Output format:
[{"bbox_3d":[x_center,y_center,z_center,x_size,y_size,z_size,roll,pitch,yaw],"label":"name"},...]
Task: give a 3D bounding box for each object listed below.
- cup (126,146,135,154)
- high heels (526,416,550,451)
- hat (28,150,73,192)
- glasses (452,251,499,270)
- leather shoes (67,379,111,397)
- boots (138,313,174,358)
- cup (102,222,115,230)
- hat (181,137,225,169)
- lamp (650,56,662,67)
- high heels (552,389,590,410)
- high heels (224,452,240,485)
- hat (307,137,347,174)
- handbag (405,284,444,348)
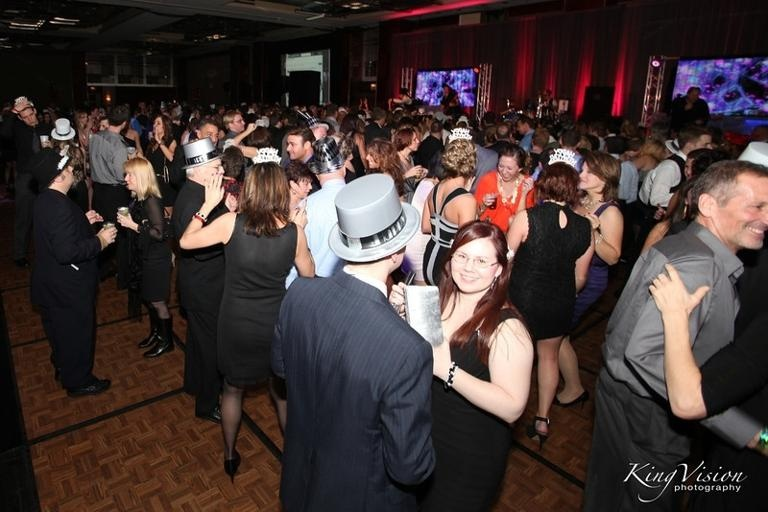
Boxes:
[{"bbox_3d":[-3.116,-1.286,5.923,0.066,0.098,0.038,-5,3,-28],"label":"cup"},{"bbox_3d":[1.211,1.386,3.820,0.107,0.084,0.298,-4,53,16],"label":"high heels"},{"bbox_3d":[-2.638,-0.679,3.824,0.271,0.310,0.159,-5,21,-7],"label":"hat"},{"bbox_3d":[0.473,0.024,2.553,0.217,0.083,0.042,3,21,12],"label":"glasses"},{"bbox_3d":[-2.567,1.149,4.201,0.319,0.138,0.137,-8,22,-35],"label":"leather shoes"},{"bbox_3d":[-2.199,0.784,4.755,0.357,0.427,0.405,-3,21,-37],"label":"boots"},{"bbox_3d":[-2.307,-0.258,4.031,0.080,0.066,0.077,5,19,-2],"label":"cup"},{"bbox_3d":[-1.421,-0.788,3.777,0.243,0.130,0.252,-14,28,-1],"label":"hat"},{"bbox_3d":[6.224,-4.433,11.087,0.195,0.244,0.206,-4,17,-11],"label":"lamp"},{"bbox_3d":[1.633,1.238,4.213,0.329,0.165,0.128,2,2,2],"label":"high heels"},{"bbox_3d":[-1.124,1.542,3.552,0.075,0.105,0.236,-5,33,-15],"label":"high heels"},{"bbox_3d":[-0.491,-0.842,4.072,0.314,0.186,0.327,-23,44,-9],"label":"hat"},{"bbox_3d":[0.196,0.280,2.309,0.187,0.280,0.064,-9,6,-12],"label":"handbag"}]
